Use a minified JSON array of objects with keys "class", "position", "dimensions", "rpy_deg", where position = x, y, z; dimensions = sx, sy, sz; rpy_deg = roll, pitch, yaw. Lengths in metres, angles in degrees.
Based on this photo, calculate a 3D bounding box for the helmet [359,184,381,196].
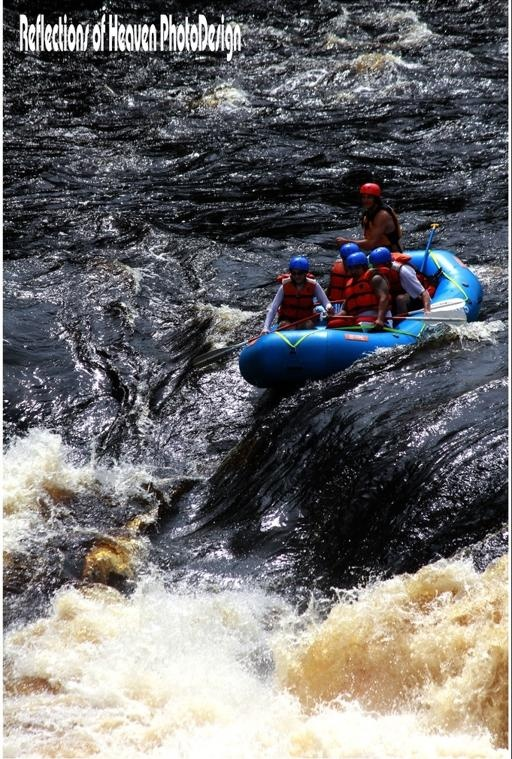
[{"class":"helmet","position":[1.089,-1.792,8.561],"dimensions":[0.179,0.114,0.169],"rpy_deg":[0,8,-3]}]

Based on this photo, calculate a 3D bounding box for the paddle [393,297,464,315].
[{"class":"paddle","position":[1.506,-0.581,7.478],"dimensions":[0.484,0.024,0.161],"rpy_deg":[-6,34,-7]}]

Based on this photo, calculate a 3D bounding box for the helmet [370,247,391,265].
[{"class":"helmet","position":[1.080,-1.037,7.692],"dimensions":[0.183,0.135,0.129],"rpy_deg":[8,-7,-37]}]

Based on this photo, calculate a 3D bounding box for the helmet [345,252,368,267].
[{"class":"helmet","position":[0.846,-0.999,7.522],"dimensions":[0.137,0.079,0.138],"rpy_deg":[0,8,2]}]

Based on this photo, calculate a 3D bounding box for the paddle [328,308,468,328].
[{"class":"paddle","position":[1.178,-0.494,7.343],"dimensions":[0.873,0.113,0.242],"rpy_deg":[0,-15,-5]}]
